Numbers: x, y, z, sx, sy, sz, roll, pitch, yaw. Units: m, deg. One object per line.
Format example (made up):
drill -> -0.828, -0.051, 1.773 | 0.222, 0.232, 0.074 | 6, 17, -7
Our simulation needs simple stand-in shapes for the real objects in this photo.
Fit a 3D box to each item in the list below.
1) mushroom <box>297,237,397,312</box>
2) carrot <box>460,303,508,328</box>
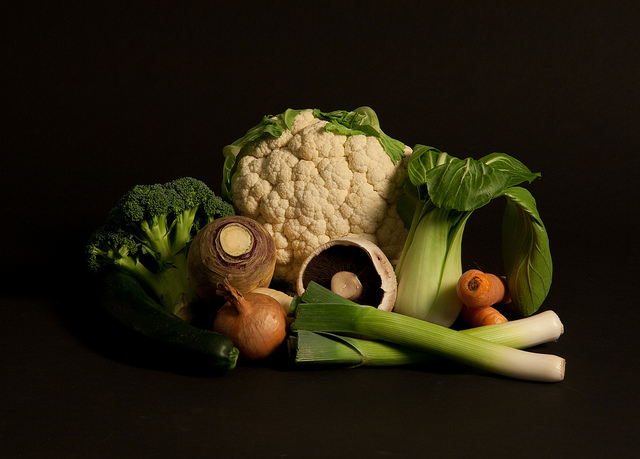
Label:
mushroom -> 0.188, 0.279, 3.850 | 0.642, 0.371, 0.338 | 18, 37, 6
carrot -> 1.061, 0.571, 3.922 | 0.136, 0.116, 0.295 | 6, 12, -38
